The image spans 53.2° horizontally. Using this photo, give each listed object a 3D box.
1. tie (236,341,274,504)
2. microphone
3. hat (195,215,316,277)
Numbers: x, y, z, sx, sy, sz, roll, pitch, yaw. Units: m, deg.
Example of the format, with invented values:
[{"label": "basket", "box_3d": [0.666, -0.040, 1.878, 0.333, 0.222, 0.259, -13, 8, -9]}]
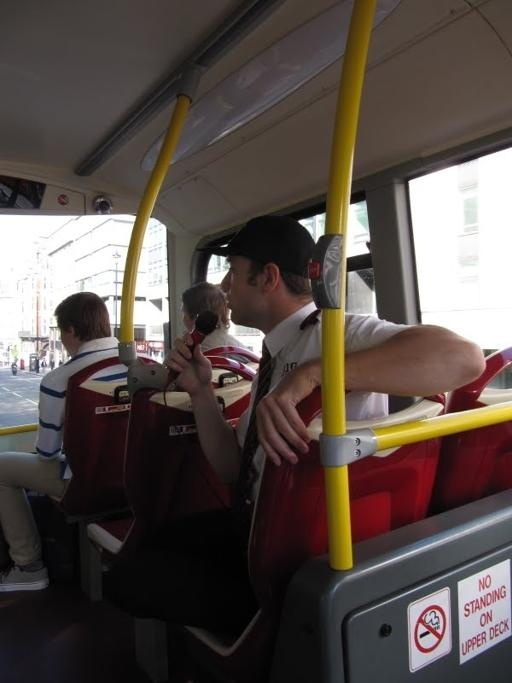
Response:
[{"label": "tie", "box_3d": [0.016, 0.187, 1.434, 0.076, 0.509, 0.067, 9, -28, 0]}, {"label": "microphone", "box_3d": [-0.181, 0.020, 1.541, 0.093, 0.062, 0.345, 26, -41, -11]}, {"label": "hat", "box_3d": [0.011, -0.289, 1.494, 0.298, 0.147, 0.204, 20, 8, 3]}]
